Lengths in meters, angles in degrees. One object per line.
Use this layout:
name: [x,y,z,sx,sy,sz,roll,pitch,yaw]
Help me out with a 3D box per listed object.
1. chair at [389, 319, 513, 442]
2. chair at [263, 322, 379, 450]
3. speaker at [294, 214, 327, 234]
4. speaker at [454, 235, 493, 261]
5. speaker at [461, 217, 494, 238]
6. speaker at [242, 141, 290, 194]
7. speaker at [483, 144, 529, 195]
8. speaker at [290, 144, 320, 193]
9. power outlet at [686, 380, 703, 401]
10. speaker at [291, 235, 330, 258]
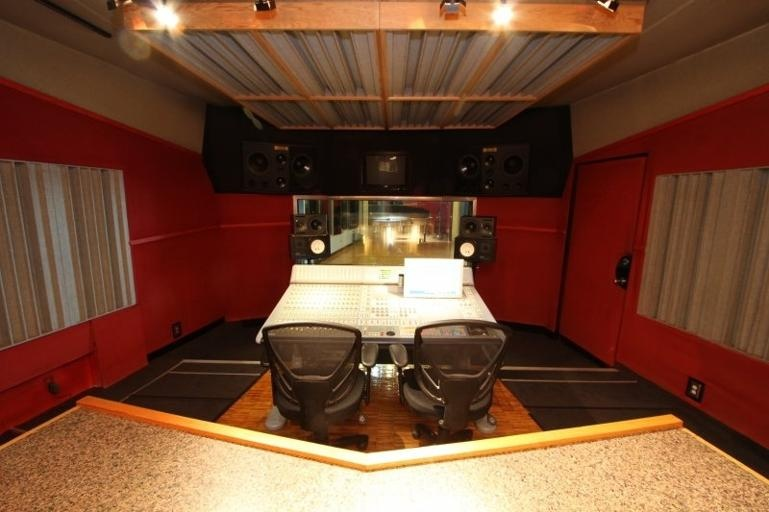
chair: [0.608,1.162,4.541,0.982,1.488,0.945,5,15,6]
chair: [-0.558,1.119,4.331,0.967,1.359,0.901,1,9,4]
speaker: [-0.799,-0.339,5.343,0.364,0.227,0.206,0,6,-13]
speaker: [0.985,-0.080,5.415,0.454,0.301,0.250,1,5,7]
speaker: [1.037,-0.347,5.425,0.360,0.252,0.232,0,6,11]
speaker: [-1.435,-1.080,5.987,0.553,0.543,0.197,5,11,-6]
speaker: [1.510,-1.066,6.150,0.616,0.590,0.334,3,12,25]
speaker: [-0.994,-1.071,6.140,0.353,0.565,0.143,-3,10,-25]
power outlet: [3.032,1.304,4.821,0.040,0.168,0.167,7,2,-16]
speaker: [-0.802,-0.108,5.354,0.426,0.267,0.228,-1,8,-13]
